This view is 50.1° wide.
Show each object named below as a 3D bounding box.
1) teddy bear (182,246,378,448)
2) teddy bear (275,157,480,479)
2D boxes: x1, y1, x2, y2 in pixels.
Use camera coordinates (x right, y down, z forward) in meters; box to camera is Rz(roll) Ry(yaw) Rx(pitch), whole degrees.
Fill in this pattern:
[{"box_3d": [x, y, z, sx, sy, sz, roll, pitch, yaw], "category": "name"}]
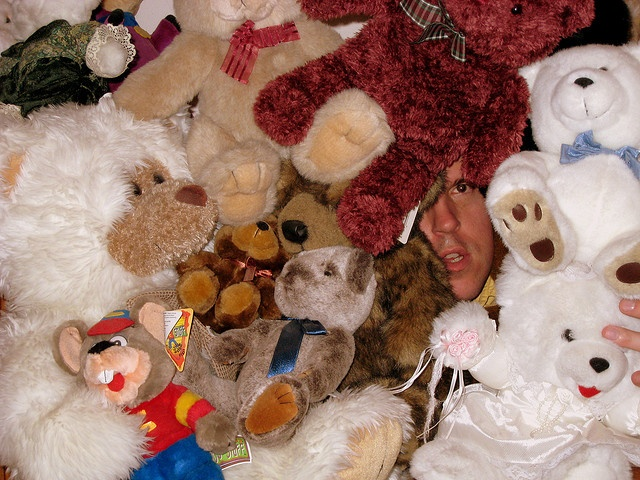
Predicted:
[{"box_3d": [-0.104, 0.256, 1.852, 0.471, 0.430, 0.553, 16, 89, -17], "category": "teddy bear"}, {"box_3d": [0.153, 0.227, 1.878, 0.585, 0.255, 0.790, -16, 101, 2], "category": "teddy bear"}]
